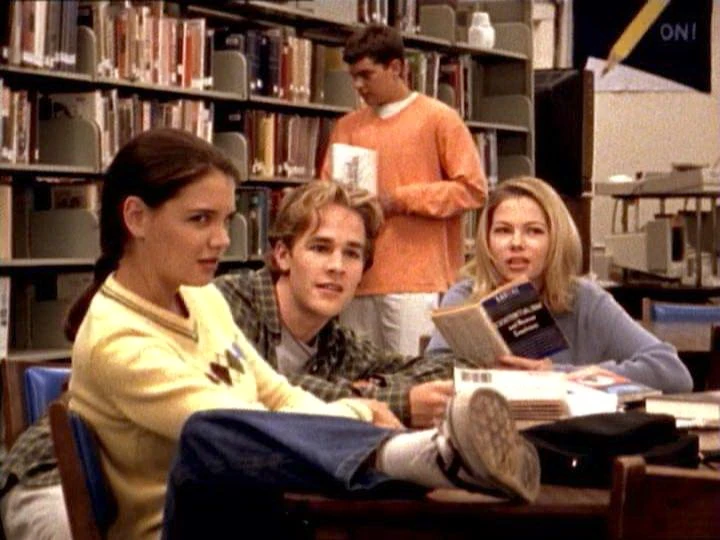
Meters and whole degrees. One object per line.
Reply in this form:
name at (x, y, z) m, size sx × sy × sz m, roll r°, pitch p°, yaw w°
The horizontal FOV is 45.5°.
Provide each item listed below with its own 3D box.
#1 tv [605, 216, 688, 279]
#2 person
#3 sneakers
tv at (1.626, -0.147, 5.489) m, size 0.813 × 0.383 × 0.575 m, roll -2°, pitch 2°, yaw 3°
person at (0.042, 0.140, 1.696) m, size 1.008 × 0.830 × 0.546 m, roll -3°, pitch -7°, yaw 21°
sneakers at (0.187, 0.272, 1.328) m, size 0.092 × 0.204 × 0.110 m, roll -16°, pitch 26°, yaw 52°
